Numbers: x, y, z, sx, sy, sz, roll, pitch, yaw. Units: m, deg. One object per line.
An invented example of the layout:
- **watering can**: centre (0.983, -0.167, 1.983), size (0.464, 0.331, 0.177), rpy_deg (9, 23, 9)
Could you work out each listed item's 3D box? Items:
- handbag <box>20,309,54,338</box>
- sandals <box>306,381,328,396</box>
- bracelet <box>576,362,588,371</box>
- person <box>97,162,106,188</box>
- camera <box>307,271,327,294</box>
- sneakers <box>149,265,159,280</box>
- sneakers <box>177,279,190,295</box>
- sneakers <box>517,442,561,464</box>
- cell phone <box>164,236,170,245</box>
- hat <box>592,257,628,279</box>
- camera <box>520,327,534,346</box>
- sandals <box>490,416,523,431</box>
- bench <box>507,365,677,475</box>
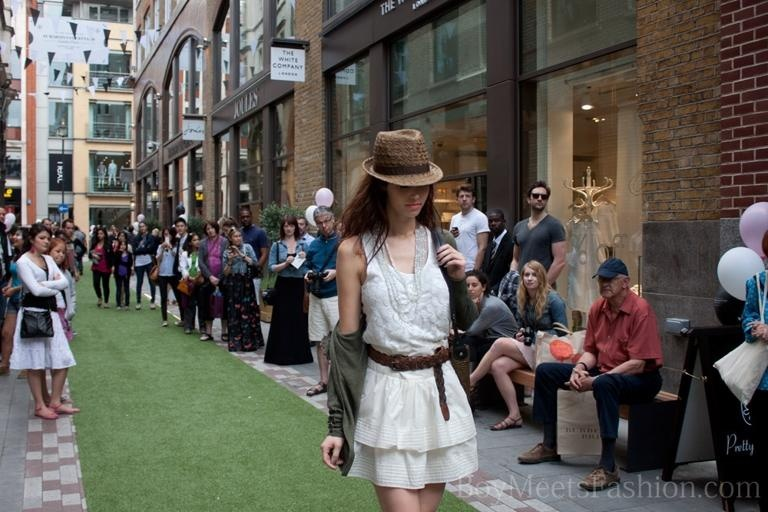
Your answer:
- **handbag**: centre (-4.379, 0.848, 7.649), size (0.333, 0.343, 0.133), rpy_deg (0, -3, -17)
- **sandals**: centre (-0.971, 1.860, 8.660), size (0.149, 0.183, 0.445), rpy_deg (-2, -3, 41)
- **bracelet**: centre (2.041, 1.126, 6.276), size (0.070, 0.101, 0.036), rpy_deg (-7, 31, 16)
- **person**: centre (-24.218, -6.886, 52.355), size (0.722, 2.244, 0.627), rpy_deg (-4, 6, -37)
- **camera**: centre (-0.966, 0.376, 8.629), size (0.260, 0.296, 0.136), rpy_deg (1, 7, 7)
- **sneakers**: centre (-5.640, 0.445, 14.965), size (0.133, 0.385, 0.288), rpy_deg (7, 3, -35)
- **sneakers**: centre (-4.225, 0.662, 12.855), size (0.195, 0.240, 0.225), rpy_deg (30, 13, -2)
- **sneakers**: centre (1.617, 2.059, 6.450), size (0.456, 0.210, 0.174), rpy_deg (1, -5, -14)
- **cell phone**: centre (-5.220, -0.366, 14.635), size (0.054, 0.161, 0.114), rpy_deg (5, -4, -5)
- **hat**: centre (2.272, 0.138, 6.119), size (0.293, 0.180, 0.197), rpy_deg (5, -6, -34)
- **camera**: centre (1.746, 0.963, 7.482), size (0.146, 0.212, 0.089), rpy_deg (9, -29, 3)
- **sandals**: centre (1.466, 1.994, 7.326), size (0.351, 0.149, 0.151), rpy_deg (1, -5, -12)
- **bench**: centre (2.101, 1.346, 6.370), size (1.399, 1.633, 1.176), rpy_deg (5, -6, -44)
